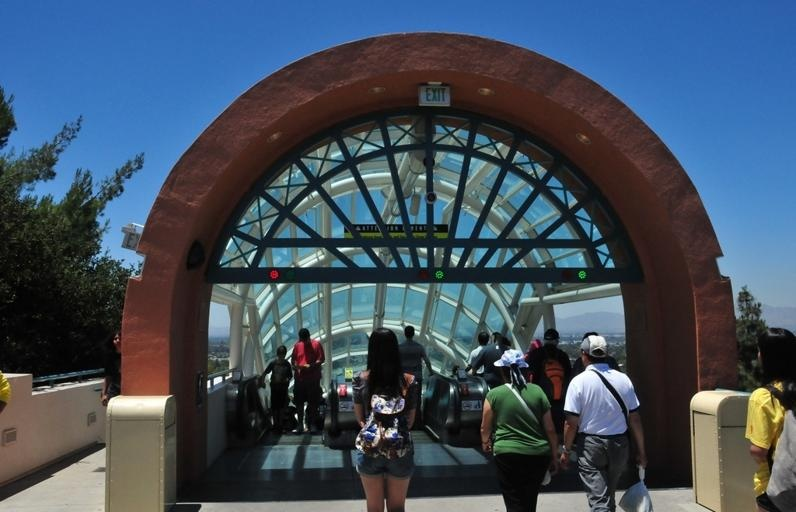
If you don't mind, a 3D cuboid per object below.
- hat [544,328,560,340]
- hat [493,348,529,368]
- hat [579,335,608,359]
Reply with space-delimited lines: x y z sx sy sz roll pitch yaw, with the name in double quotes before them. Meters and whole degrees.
"hat" 3.200 1.637 10.121 0.289 0.211 0.480 -7 -14 14
"hat" 1.448 1.302 6.151 0.393 0.188 0.284 3 -3 -6
"hat" 2.537 1.175 6.230 0.206 0.170 0.318 2 12 9
